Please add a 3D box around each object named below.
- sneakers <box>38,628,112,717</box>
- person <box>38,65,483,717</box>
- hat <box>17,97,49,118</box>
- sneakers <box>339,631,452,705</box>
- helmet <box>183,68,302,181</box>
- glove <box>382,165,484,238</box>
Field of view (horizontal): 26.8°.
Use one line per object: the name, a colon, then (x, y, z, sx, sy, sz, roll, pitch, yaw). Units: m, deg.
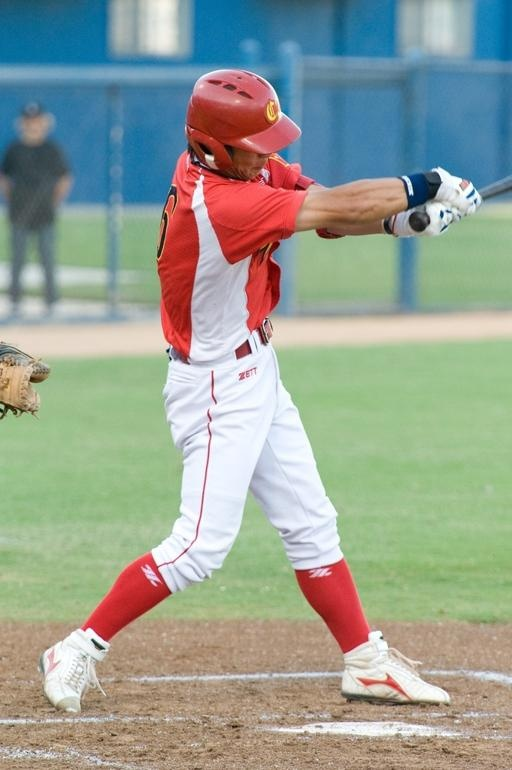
sneakers: (-0.427, 0.670, 2.592, 0.189, 0.089, 0.252, -28, 29, -5)
person: (-0.002, 0.032, 2.449, 0.884, 1.481, 0.616, -3, 5, -27)
hat: (-1.710, -2.107, 8.308, 0.217, 0.186, 0.061, 6, -14, 0)
sneakers: (0.333, 0.657, 2.506, 0.331, 0.192, 0.109, 5, -23, 1)
helmet: (-0.026, -0.582, 2.350, 0.281, 0.188, 0.197, 17, 36, 21)
glove: (0.376, -0.401, 2.353, 0.142, 0.095, 0.219, -16, 5, 22)
